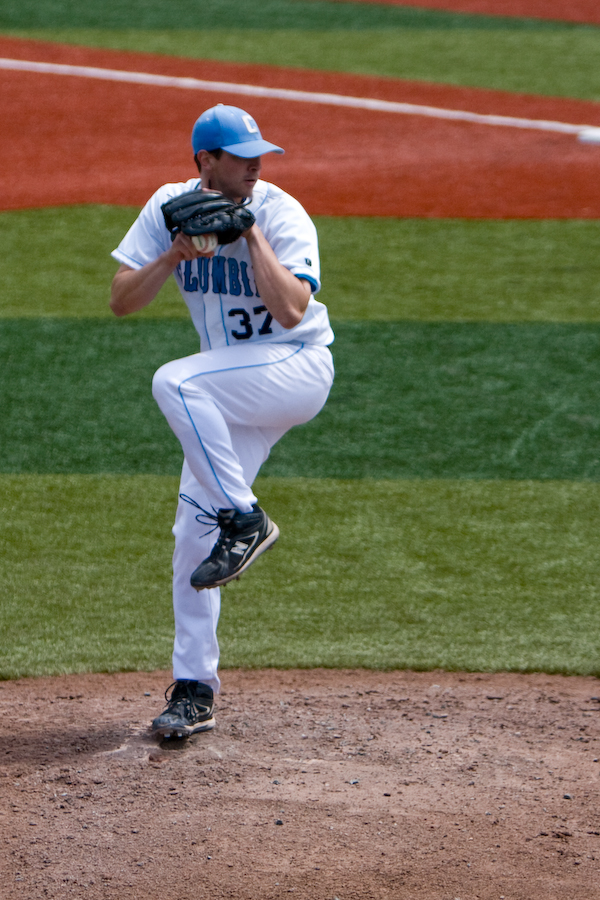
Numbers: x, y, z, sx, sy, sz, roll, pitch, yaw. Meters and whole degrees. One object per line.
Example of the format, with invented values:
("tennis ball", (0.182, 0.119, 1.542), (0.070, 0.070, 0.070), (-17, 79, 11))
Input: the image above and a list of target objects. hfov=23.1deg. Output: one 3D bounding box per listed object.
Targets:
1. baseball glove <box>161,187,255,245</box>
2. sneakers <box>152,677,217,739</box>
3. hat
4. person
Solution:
("baseball glove", (-0.299, -0.752, 4.644), (0.245, 0.106, 0.167), (-2, 49, 4))
("sneakers", (-0.389, 0.882, 4.979), (0.116, 0.138, 0.300), (2, -1, 23))
("hat", (-0.197, -1.047, 4.812), (0.285, 0.135, 0.170), (5, 23, 17))
("person", (-0.275, -0.087, 4.933), (0.748, 2.117, 0.575), (1, 11, 1))
